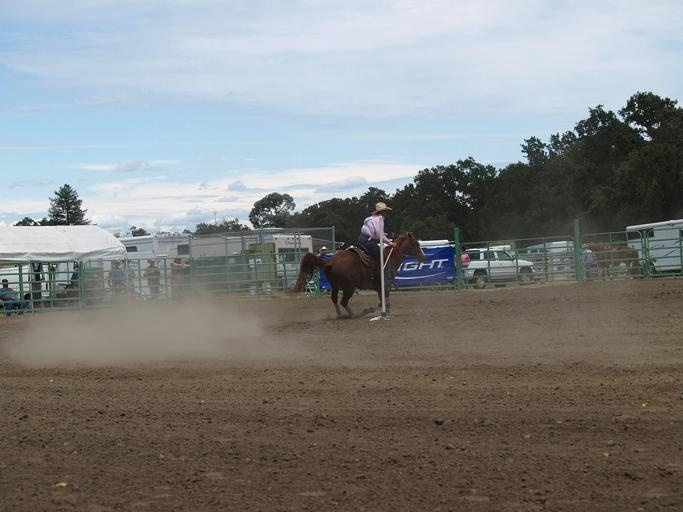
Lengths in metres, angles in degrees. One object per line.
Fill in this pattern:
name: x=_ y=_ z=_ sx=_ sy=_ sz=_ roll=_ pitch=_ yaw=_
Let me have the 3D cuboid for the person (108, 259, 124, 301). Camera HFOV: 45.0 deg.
person: x=-6.940 y=0.740 z=25.498 sx=0.483 sy=1.025 sz=1.293 roll=-5 pitch=11 yaw=-15

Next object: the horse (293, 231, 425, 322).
horse: x=0.358 y=0.427 z=17.519 sx=3.120 sy=1.670 sz=0.751 roll=-3 pitch=3 yaw=-29

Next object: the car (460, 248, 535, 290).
car: x=5.266 y=0.333 z=28.339 sx=2.563 sy=0.979 sz=1.147 roll=-3 pitch=3 yaw=-8

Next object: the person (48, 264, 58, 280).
person: x=-9.075 y=0.538 z=25.863 sx=0.253 sy=0.497 sz=1.589 roll=-6 pitch=11 yaw=-20

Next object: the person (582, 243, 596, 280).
person: x=8.071 y=0.242 z=26.928 sx=0.380 sy=1.067 sz=2.058 roll=1 pitch=10 yaw=17

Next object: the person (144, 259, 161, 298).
person: x=-5.947 y=0.737 z=25.992 sx=0.448 sy=1.202 sz=0.725 roll=-5 pitch=11 yaw=-13

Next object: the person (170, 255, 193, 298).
person: x=-5.196 y=0.633 z=26.724 sx=0.569 sy=1.327 sz=0.976 roll=0 pitch=11 yaw=10
